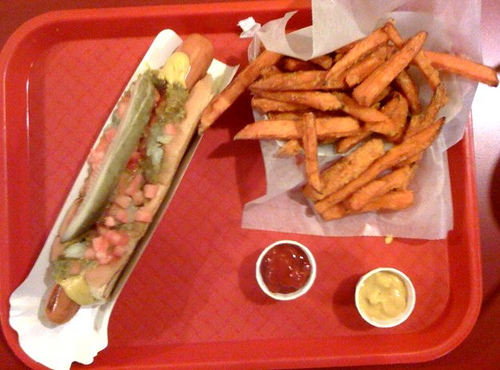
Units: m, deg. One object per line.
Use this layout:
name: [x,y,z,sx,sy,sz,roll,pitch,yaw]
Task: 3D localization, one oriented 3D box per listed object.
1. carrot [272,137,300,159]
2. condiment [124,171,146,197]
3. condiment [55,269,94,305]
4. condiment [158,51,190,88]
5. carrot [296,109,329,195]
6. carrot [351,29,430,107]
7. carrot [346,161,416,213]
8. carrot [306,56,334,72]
carrot: [0.190,-0.173,2.144,0.085,0.031,0.094,18,111,8]
condiment: [-0.524,-0.007,2.024,0.060,0.039,0.119,34,83,-3]
condiment: [-0.781,0.471,2.018,0.141,0.110,0.149,-20,83,-2]
condiment: [-0.350,-0.537,2.068,0.147,0.060,0.152,27,89,7]
carrot: [0.279,-0.148,2.059,0.083,0.085,0.402,-3,74,-6]
carrot: [0.617,-0.520,2.020,0.117,0.196,0.403,44,85,6]
carrot: [0.600,-0.001,2.075,0.308,0.074,0.087,-36,89,27]
carrot: [0.324,-0.561,2.067,0.118,0.031,0.072,18,89,-9]
